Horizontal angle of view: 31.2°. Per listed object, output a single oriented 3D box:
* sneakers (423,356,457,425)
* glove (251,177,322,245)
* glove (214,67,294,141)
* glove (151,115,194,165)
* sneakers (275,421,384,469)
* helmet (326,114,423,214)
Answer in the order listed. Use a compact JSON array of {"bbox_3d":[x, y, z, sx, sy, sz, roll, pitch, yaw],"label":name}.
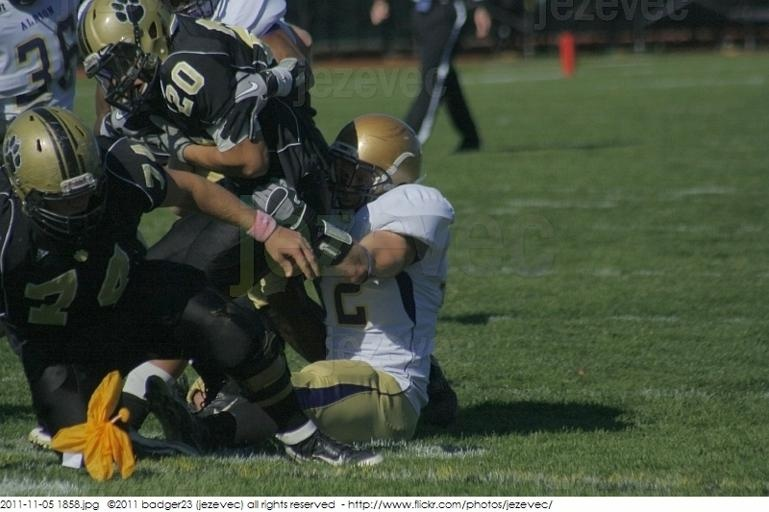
[{"bbox_3d":[0.235,0.562,5.562,0.068,0.186,0.106,-24,23,25],"label":"sneakers"},{"bbox_3d":[-0.365,-0.178,5.260,0.254,0.179,0.179,38,-4,-5],"label":"glove"},{"bbox_3d":[-0.480,-0.582,5.321,0.106,0.299,0.364,12,17,35],"label":"glove"},{"bbox_3d":[-0.830,-0.461,5.344,0.181,0.070,0.181,32,35,-29],"label":"glove"},{"bbox_3d":[-0.233,0.727,5.294,0.457,0.199,0.159,-3,6,6],"label":"sneakers"},{"bbox_3d":[-0.021,-0.386,5.484,0.416,0.340,0.319,-10,25,-22],"label":"helmet"}]
